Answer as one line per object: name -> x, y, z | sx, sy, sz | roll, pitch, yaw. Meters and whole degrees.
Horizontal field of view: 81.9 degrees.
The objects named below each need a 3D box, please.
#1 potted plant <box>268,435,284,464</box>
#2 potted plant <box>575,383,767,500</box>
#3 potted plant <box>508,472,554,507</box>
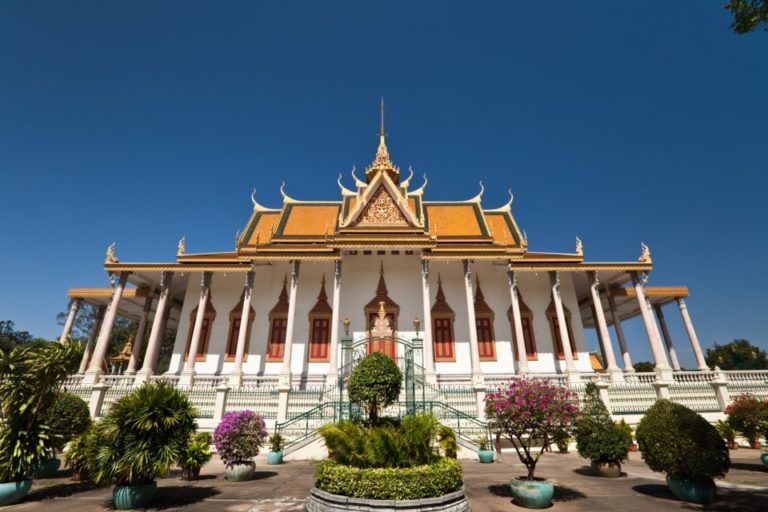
potted plant -> -3.702, 6.636, 15.263 | 0.513, 0.991, 0.830 | 4, -23, -11
potted plant -> 7.445, 5.541, 12.830 | 3.233, 2.006, 3.792 | 4, -41, 14
potted plant -> 3.740, 5.908, 11.137 | 0.823, 0.438, 0.781 | -6, -21, 21
